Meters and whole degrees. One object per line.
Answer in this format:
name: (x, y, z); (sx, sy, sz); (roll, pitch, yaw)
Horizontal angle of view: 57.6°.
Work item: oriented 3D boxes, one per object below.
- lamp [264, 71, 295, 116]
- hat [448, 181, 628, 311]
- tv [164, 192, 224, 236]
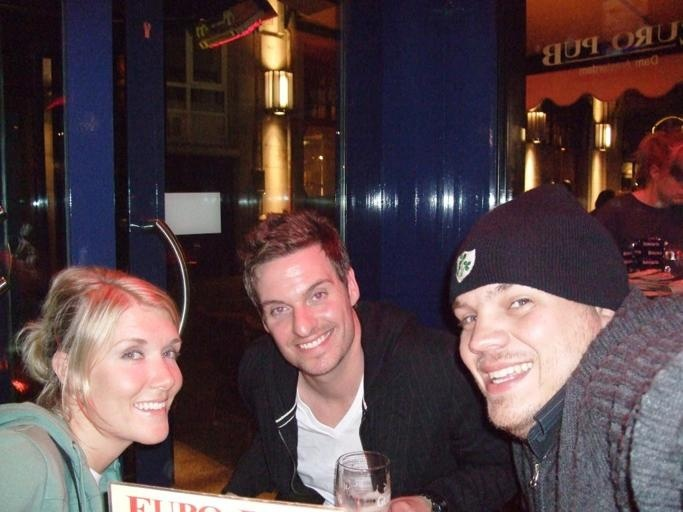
lamp: (-0.345, -0.890, 3.373); (0.203, 0.194, 0.199); (-5, 9, -39)
hat: (0.633, -0.025, 1.946); (0.590, 0.454, 0.448); (2, -3, -13)
tv: (-0.676, -0.194, 2.845); (0.059, 0.209, 0.322); (2, 2, 31)
